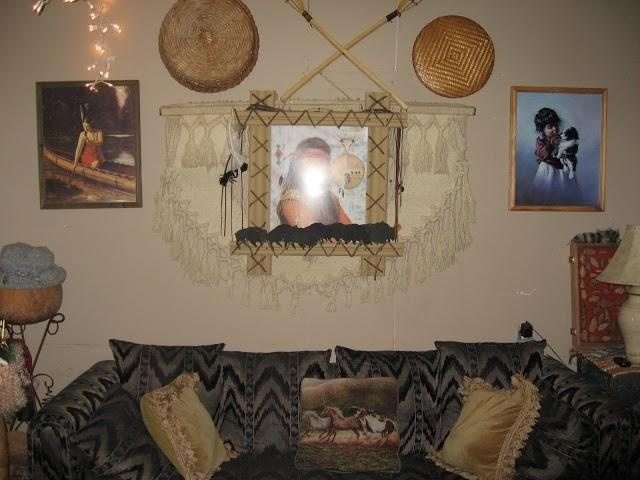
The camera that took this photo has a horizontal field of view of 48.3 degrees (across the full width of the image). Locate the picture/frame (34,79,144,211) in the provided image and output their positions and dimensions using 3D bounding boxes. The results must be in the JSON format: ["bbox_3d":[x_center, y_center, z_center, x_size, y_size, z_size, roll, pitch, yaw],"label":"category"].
[{"bbox_3d":[-1.527,-0.631,4.758,0.623,0.917,0.016,-2,-22,-20],"label":"picture/frame"}]
